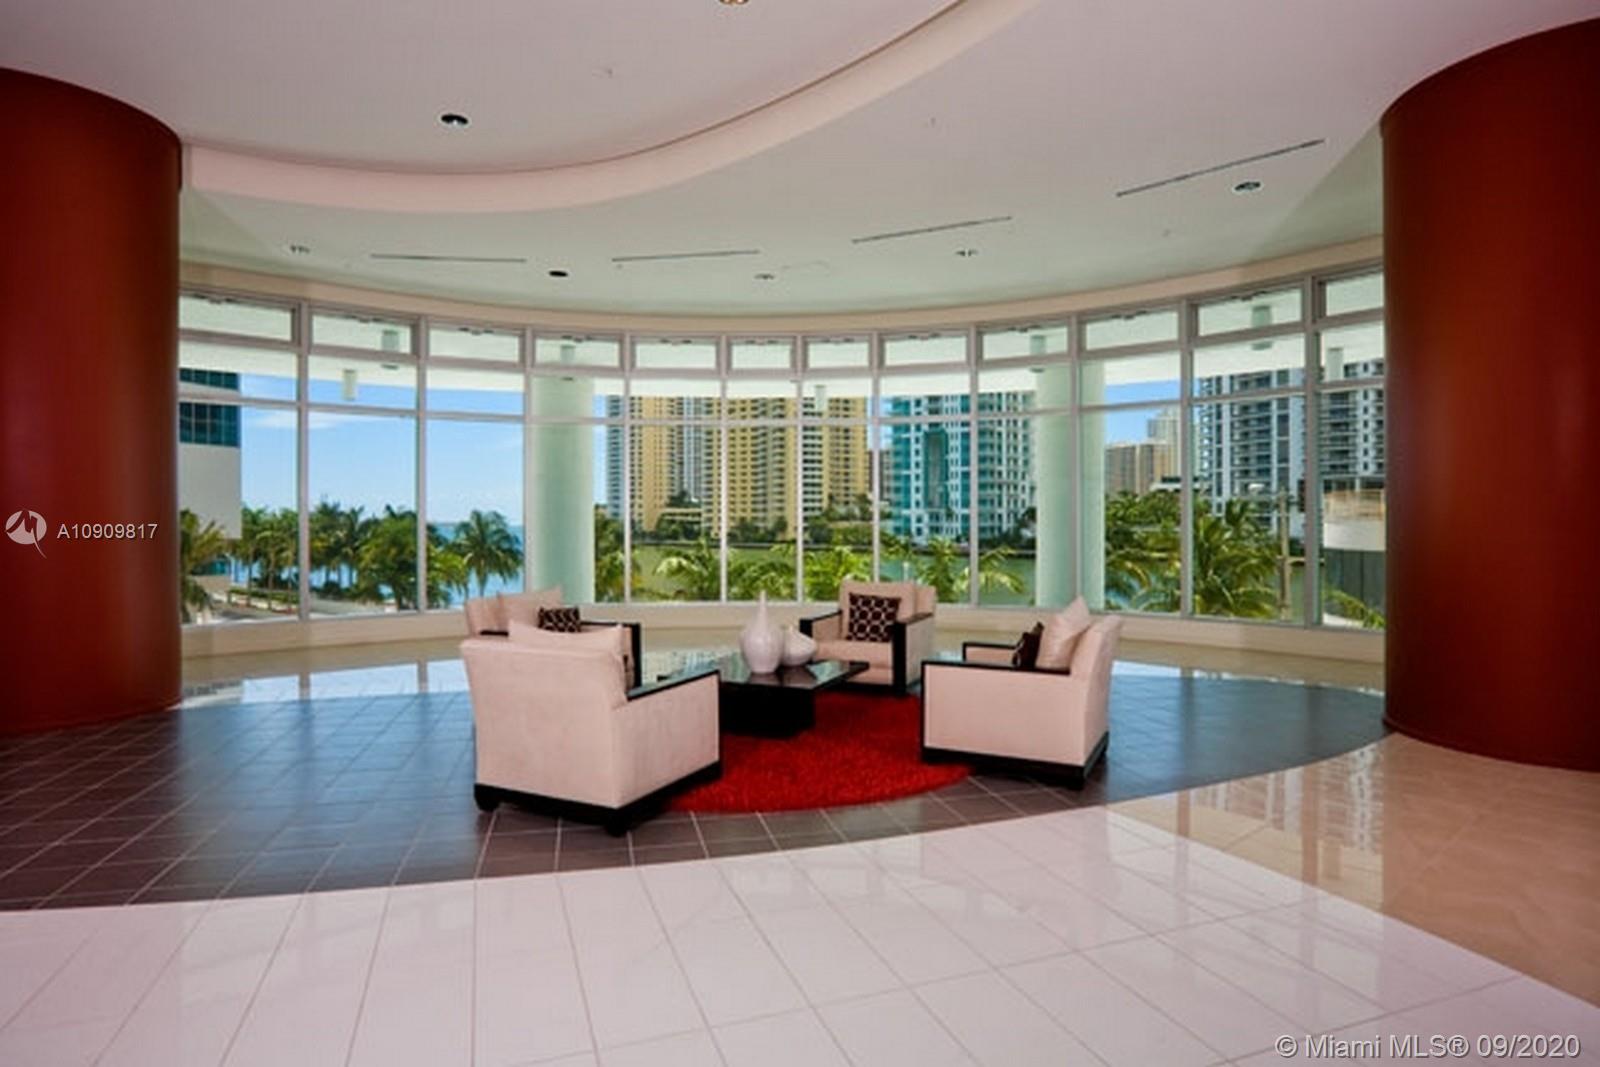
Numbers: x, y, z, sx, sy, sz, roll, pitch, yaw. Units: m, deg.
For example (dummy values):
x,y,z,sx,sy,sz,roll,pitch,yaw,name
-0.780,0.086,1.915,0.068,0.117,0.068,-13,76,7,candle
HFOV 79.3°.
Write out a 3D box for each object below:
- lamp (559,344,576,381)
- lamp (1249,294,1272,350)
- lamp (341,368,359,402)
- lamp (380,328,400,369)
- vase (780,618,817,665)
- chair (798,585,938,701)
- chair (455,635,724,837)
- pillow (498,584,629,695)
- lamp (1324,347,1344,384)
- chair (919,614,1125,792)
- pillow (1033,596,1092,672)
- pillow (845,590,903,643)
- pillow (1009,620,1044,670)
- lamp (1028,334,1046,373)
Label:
x,y,z,sx,sy,sz,roll,pitch,yaw,name
-3.300,-2.403,13.608,0.205,0.501,0.136,-4,15,-12,lamp
5.579,-2.490,11.638,0.315,0.611,0.137,9,17,34,lamp
-5.818,-1.903,12.420,0.222,0.397,0.083,-8,16,-26,lamp
-5.386,-2.397,12.642,0.241,0.543,0.155,-6,15,-21,lamp
-0.031,0.992,8.497,0.330,0.212,0.313,-2,5,-26,vase
0.681,0.991,9.626,1.285,0.947,1.282,0,4,5,chair
-1.388,1.283,6.780,1.649,1.060,1.588,0,0,4,chair
-2.106,0.967,8.366,1.062,0.991,1.119,1,2,15,pillow
6.179,-1.951,11.145,0.221,0.337,0.090,7,16,29,lamp
1.883,1.239,7.415,1.511,1.089,1.577,5,-6,-37,chair
2.087,0.802,7.610,0.317,0.442,0.592,14,19,30,pillow
0.681,0.856,9.598,0.519,0.433,0.162,9,0,28,pillow
1.642,0.831,7.184,0.094,0.300,0.297,24,-28,22,pillow
3.268,-2.452,13.214,0.250,0.506,0.091,4,15,18,lamp
